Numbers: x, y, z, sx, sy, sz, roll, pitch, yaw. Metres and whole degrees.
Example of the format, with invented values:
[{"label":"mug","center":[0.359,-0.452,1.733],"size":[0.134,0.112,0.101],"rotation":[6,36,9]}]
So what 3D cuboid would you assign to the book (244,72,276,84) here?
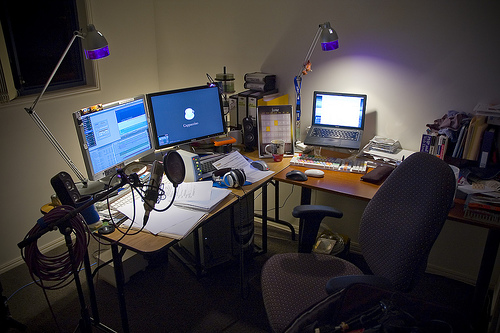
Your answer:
[{"label":"book","center":[0.090,-0.909,3.644],"size":[0.213,0.074,0.167],"rotation":[13,27,30]}]

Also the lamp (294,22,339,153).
[{"label":"lamp","center":[0.606,-0.726,3.432],"size":[0.512,1.147,0.242],"rotation":[0,12,18]}]

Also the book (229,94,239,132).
[{"label":"book","center":[-0.160,-0.545,3.609],"size":[0.102,0.337,0.121],"rotation":[-1,21,-4]}]

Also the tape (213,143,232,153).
[{"label":"tape","center":[-0.237,-0.153,3.279],"size":[0.179,0.099,0.100],"rotation":[-2,1,-19]}]

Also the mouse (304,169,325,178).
[{"label":"mouse","center":[0.560,0.047,3.062],"size":[0.118,0.037,0.082],"rotation":[10,21,23]}]

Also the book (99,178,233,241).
[{"label":"book","center":[-0.572,0.316,2.626],"size":[0.464,0.025,0.527],"rotation":[10,28,20]}]

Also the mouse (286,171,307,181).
[{"label":"mouse","center":[0.390,0.087,2.988],"size":[0.145,0.051,0.084],"rotation":[12,22,15]}]

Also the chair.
[{"label":"chair","center":[0.419,0.262,2.720],"size":[1.431,1.583,0.880],"rotation":[-1,19,-7]}]

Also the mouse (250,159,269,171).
[{"label":"mouse","center":[0.082,-0.019,3.145],"size":[0.154,0.046,0.075],"rotation":[21,32,39]}]

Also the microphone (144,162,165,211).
[{"label":"microphone","center":[-0.647,0.137,2.476],"size":[0.113,0.374,0.113],"rotation":[8,-20,4]}]

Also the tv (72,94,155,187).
[{"label":"tv","center":[-1.044,-0.190,2.803],"size":[0.168,0.590,0.726],"rotation":[12,31,38]}]

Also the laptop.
[{"label":"laptop","center":[0.813,-0.440,3.362],"size":[0.610,0.402,0.556],"rotation":[9,51,17]}]
